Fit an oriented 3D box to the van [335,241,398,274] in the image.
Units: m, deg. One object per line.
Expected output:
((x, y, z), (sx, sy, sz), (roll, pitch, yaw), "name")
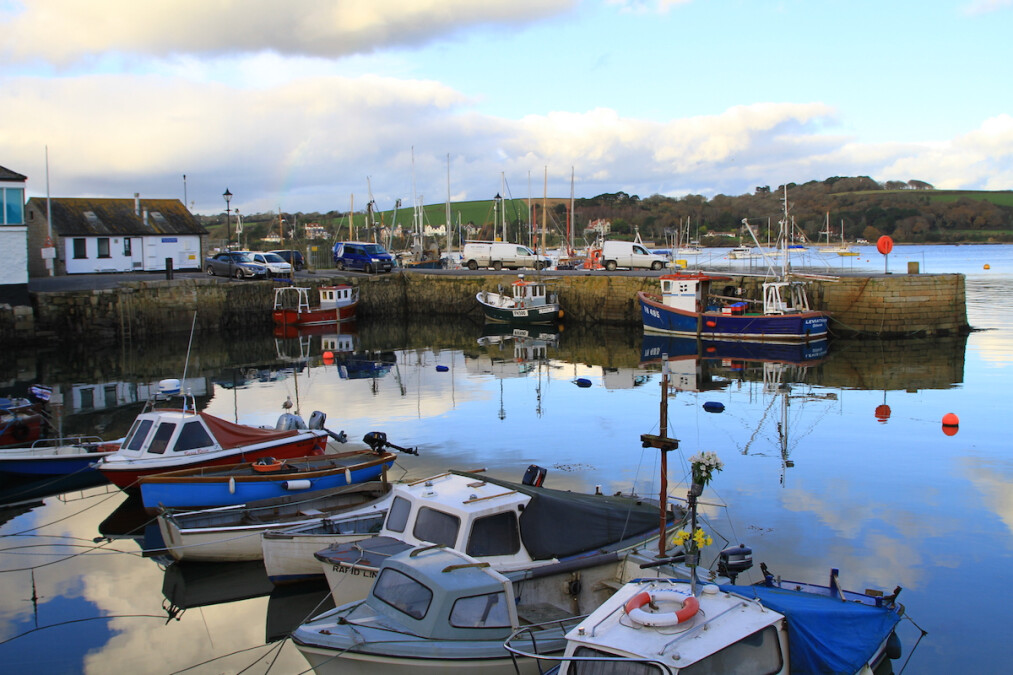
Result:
((-8.259, -4.790, 56.135), (1.798, 1.385, 3.470), (-6, 8, -43), "van")

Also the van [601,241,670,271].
((7.501, -4.799, 56.263), (3.046, 1.438, 1.828), (-2, 8, 4), "van")

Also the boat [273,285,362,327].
((-9.847, -1.664, 48.319), (5.227, 2.234, 1.707), (-3, 8, -24), "boat")
